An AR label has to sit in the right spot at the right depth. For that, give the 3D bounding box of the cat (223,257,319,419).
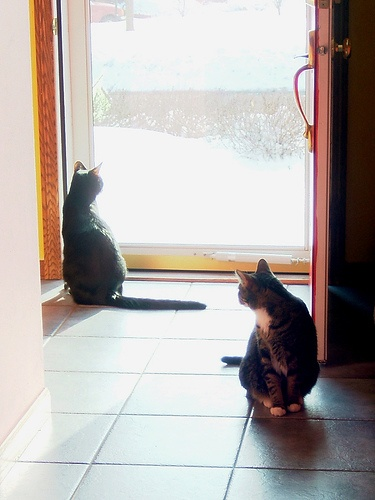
[{"bbox_3d":[0.275,0.269,1.558,0.255,0.449,0.216,3,9,31],"label":"cat"}]

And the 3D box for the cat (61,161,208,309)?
[{"bbox_3d":[-0.401,-0.093,2.816,0.665,0.832,0.286,1,8,21],"label":"cat"}]
